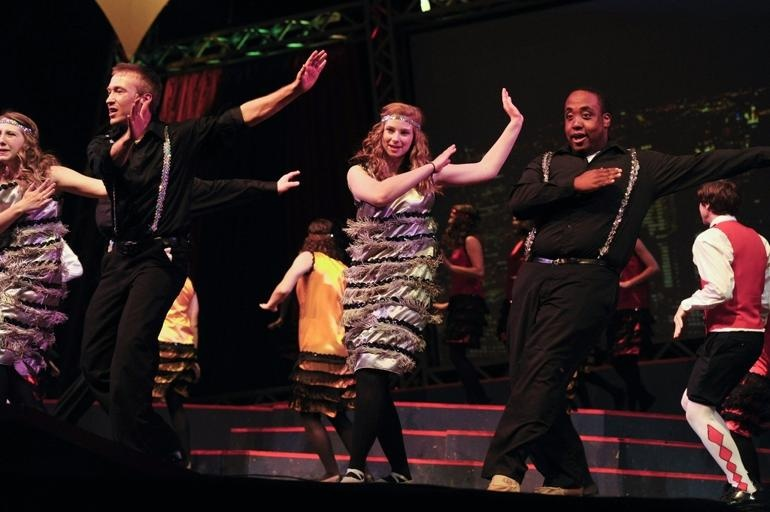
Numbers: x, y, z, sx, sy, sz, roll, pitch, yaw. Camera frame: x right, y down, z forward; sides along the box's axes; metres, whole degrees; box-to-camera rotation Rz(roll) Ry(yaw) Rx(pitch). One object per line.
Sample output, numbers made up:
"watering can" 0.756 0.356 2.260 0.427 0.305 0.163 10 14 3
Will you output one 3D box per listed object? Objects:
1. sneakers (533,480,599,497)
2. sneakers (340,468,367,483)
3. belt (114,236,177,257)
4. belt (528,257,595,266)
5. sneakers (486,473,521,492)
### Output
"sneakers" 1.191 1.510 5.441 0.362 0.092 0.257 0 -9 -2
"sneakers" -0.204 1.430 5.471 0.127 0.090 0.264 4 -2 14
"belt" -1.604 -0.084 5.681 0.237 0.088 0.194 -9 3 -33
"belt" 1.178 0.029 5.524 0.453 0.043 0.097 1 -1 31
"sneakers" 0.723 1.372 5.093 0.186 0.124 0.120 19 -19 8
